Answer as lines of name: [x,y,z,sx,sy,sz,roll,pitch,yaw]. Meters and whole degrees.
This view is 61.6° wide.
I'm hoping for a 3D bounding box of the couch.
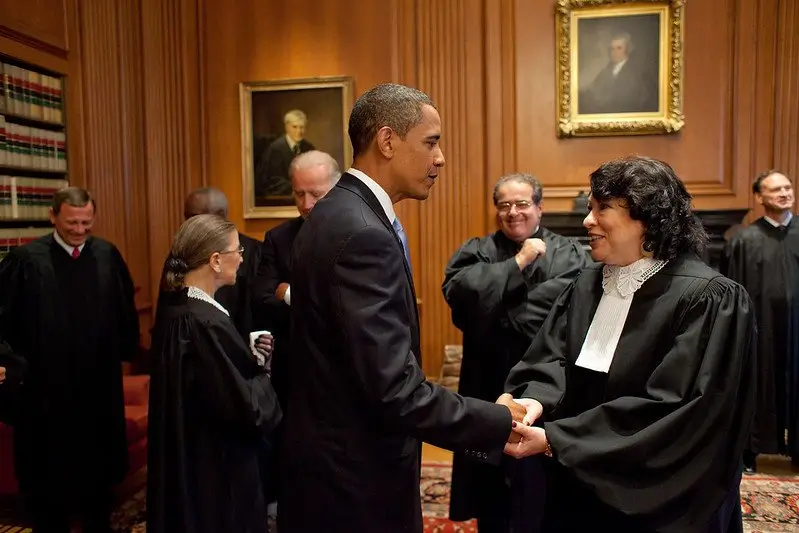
couch: [-2.580,1.330,5.575,0.904,1.023,0.998,0,-3,10]
